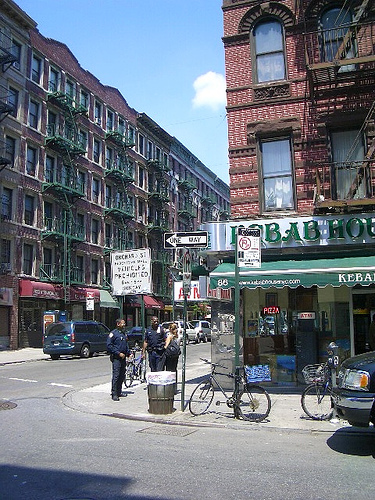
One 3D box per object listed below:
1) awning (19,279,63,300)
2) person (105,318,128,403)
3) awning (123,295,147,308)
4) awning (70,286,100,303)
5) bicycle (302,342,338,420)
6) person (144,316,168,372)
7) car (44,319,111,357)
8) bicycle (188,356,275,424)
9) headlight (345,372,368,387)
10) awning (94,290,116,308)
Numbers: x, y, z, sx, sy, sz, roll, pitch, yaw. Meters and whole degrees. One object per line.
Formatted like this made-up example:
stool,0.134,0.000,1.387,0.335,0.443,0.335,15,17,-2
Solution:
awning,-7.929,2.133,35.022,0.693,0.928,3.112,-5,-9,22
person,-1.469,2.376,13.462,0.409,1.463,1.469,-1,-8,-5
awning,-4.059,3.586,45.869,0.973,0.667,1.385,0,-9,7
awning,-6.338,2.702,39.467,0.759,0.952,3.649,-4,-9,15
bicycle,2.172,2.168,10.546,0.641,1.239,0.597,-1,-6,14
person,-0.618,1.889,12.944,0.441,1.069,0.682,-1,-8,-2
car,-4.774,3.911,28.319,1.573,1.531,3.575,-5,-9,24
bicycle,0.692,2.393,10.902,1.595,0.979,0.749,-4,-9,34
headlight,2.073,1.596,7.959,0.107,0.166,0.381,1,-9,-19
awning,-5.274,3.118,42.000,1.152,0.515,1.145,6,-11,-31
